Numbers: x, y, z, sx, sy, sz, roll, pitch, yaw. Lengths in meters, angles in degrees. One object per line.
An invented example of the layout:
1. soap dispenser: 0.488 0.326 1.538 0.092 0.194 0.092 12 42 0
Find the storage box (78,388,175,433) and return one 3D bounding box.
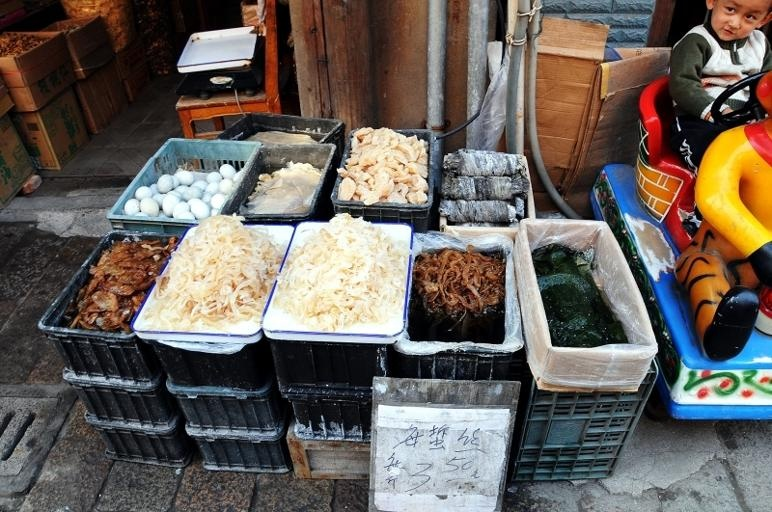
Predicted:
1. storage box: -1.930 1.117 4.086 0.580 0.198 0.347 3 31 -6

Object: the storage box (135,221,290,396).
1. storage box: -1.162 0.458 3.967 0.604 0.403 0.901 5 42 3

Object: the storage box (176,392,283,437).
1. storage box: -1.159 1.132 3.996 0.608 0.200 0.365 2 27 -3

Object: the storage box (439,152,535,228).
1. storage box: 0.831 -0.543 4.671 0.760 0.264 0.707 3 62 -1

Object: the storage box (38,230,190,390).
1. storage box: -2.115 0.437 4.280 0.787 0.430 1.096 5 44 -5

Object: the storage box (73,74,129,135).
1. storage box: -3.949 -2.061 7.486 0.496 0.640 0.851 -6 47 6

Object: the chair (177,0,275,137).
1. chair: -1.696 -1.957 5.858 1.194 1.315 0.549 -8 41 -10

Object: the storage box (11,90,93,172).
1. storage box: -4.212 -1.543 6.798 0.708 0.895 0.852 0 42 1

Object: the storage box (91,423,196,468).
1. storage box: -1.899 1.398 4.328 0.666 0.278 0.398 6 33 -1

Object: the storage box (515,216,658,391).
1. storage box: 1.403 0.385 3.982 0.878 0.465 1.293 2 41 3

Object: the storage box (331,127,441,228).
1. storage box: 0.037 -0.605 4.796 0.856 0.648 1.101 5 39 6
